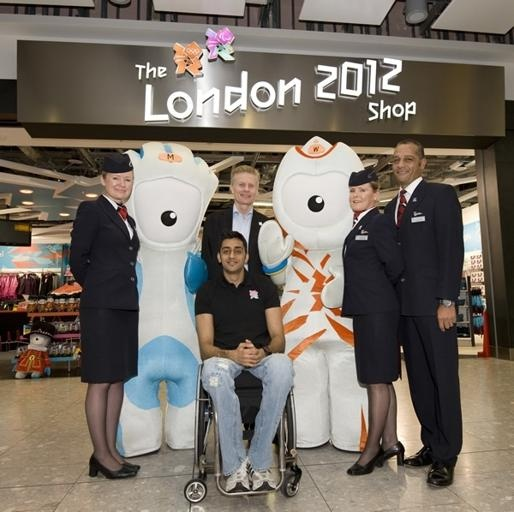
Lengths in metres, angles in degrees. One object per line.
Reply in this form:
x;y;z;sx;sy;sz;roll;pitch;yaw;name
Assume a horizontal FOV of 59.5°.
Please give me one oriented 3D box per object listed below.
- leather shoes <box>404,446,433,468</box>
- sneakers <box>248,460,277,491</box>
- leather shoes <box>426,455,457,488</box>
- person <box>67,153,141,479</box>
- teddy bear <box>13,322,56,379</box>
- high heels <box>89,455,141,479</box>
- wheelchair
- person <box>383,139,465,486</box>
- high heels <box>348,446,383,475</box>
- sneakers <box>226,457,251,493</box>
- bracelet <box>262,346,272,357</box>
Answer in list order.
0.895;1.111;2.490;0.201;0.092;0.069;7;-14;-32;leather shoes
0.031;0.975;1.973;0.102;0.088;0.090;0;-5;-10;sneakers
0.913;1.070;2.234;0.075;0.105;0.222;-7;-15;33;leather shoes
-0.804;0.281;2.444;0.367;1.796;0.265;1;-5;-22;person
-2.810;1.197;5.788;0.450;0.713;0.328;2;-5;-27;teddy bear
-0.748;1.119;2.370;0.204;0.103;0.128;0;-9;-3;high heels
-0.057;0.851;2.310;0.567;0.640;0.787;-1;-5;-3;wheelchair
0.914;0.246;2.419;0.374;1.829;0.286;-5;-6;40;person
0.572;1.114;2.450;0.253;0.134;0.088;8;-14;-29;high heels
-0.079;0.963;1.967;0.105;0.112;0.126;-1;-5;-4;sneakers
0.057;0.484;2.294;0.023;0.043;0.042;-6;-27;-6;bracelet
